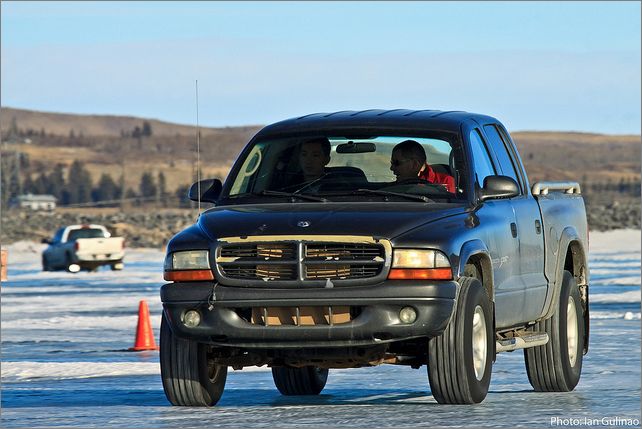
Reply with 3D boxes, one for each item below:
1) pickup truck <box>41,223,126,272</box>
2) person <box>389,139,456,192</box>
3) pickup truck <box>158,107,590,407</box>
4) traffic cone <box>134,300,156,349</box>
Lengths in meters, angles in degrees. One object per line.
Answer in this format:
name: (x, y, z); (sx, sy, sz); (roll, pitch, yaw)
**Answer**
pickup truck: (-8.528, 1.327, 55.790); (1.650, 1.121, 3.370); (0, 1, -30)
person: (1.314, -0.612, 19.776); (0.926, 0.319, 0.532); (16, -10, 4)
pickup truck: (0.672, 0.501, 19.665); (5.299, 3.728, 2.889); (-1, -2, 0)
traffic cone: (-2.934, 1.861, 26.161); (0.410, 0.821, 1.294); (-1, -2, -6)
